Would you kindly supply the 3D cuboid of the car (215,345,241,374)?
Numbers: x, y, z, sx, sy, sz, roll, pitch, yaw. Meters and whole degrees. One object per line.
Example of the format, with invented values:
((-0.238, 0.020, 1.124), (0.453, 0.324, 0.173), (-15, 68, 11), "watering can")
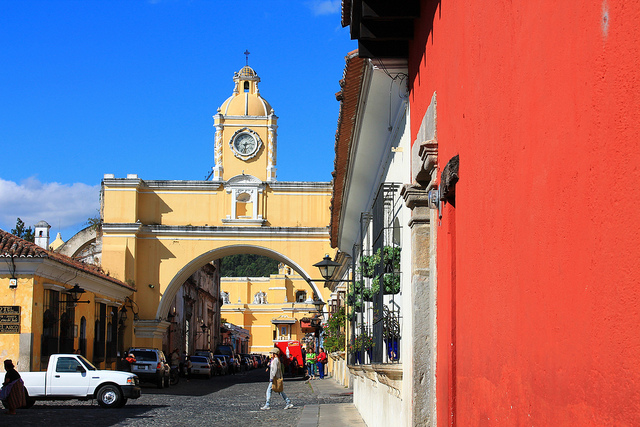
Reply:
((-5.973, 9.461, 58.650), (1.214, 1.366, 2.302), (1, -2, 2), "car")

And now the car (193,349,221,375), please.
((-6.079, 8.081, 48.958), (1.152, 1.265, 2.099), (1, -2, 5), "car")

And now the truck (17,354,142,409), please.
((-5.860, 4.161, 22.115), (2.595, 1.025, 1.343), (-1, -8, -6), "truck")

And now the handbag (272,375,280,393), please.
((-1.035, 4.024, 21.403), (0.207, 0.402, 0.206), (-11, -1, -4), "handbag")
